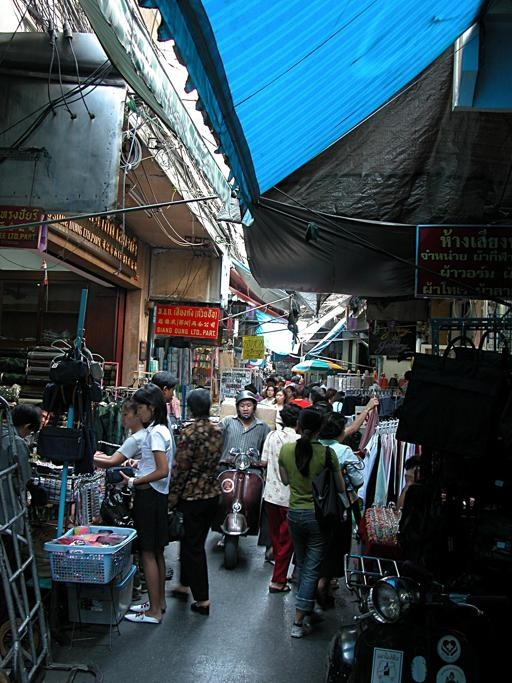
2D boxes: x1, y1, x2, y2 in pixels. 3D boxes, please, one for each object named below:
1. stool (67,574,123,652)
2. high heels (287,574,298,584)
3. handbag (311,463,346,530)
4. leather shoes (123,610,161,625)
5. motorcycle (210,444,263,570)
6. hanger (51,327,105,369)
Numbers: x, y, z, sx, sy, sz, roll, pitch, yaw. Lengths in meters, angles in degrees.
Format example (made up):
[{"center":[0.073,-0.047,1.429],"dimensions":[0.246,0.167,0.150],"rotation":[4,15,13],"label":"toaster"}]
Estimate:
[{"center":[-1.194,2.010,3.917],"dimensions":[0.297,0.444,0.332],"rotation":[1,-1,0],"label":"stool"},{"center":[0.378,2.505,5.524],"dimensions":[0.071,0.078,0.115],"rotation":[4,1,12],"label":"high heels"},{"center":[0.588,1.272,4.240],"dimensions":[0.282,0.508,0.183],"rotation":[15,-14,-39],"label":"handbag"},{"center":[-0.912,2.215,4.194],"dimensions":[0.272,0.089,0.099],"rotation":[7,-11,0],"label":"leather shoes"},{"center":[-0.196,1.956,6.201],"dimensions":[0.517,1.077,1.605],"rotation":[1,-2,3],"label":"motorcycle"},{"center":[-2.430,0.059,7.076],"dimensions":[0.718,0.834,0.821],"rotation":[2,2,-2],"label":"hanger"}]
